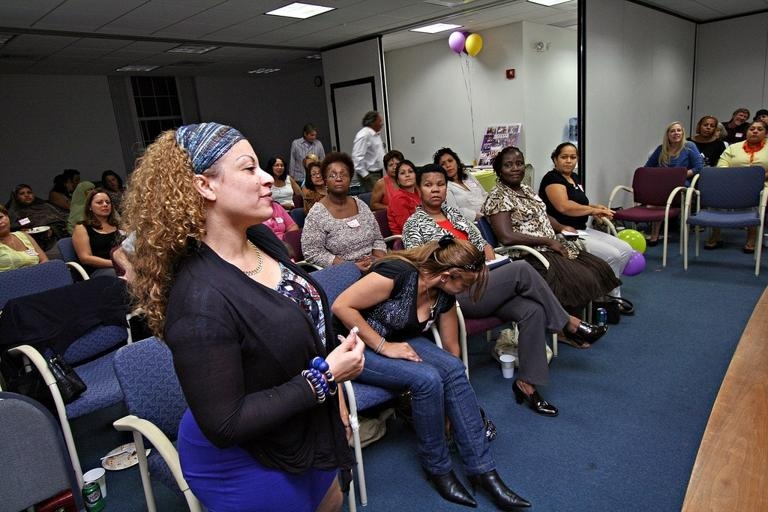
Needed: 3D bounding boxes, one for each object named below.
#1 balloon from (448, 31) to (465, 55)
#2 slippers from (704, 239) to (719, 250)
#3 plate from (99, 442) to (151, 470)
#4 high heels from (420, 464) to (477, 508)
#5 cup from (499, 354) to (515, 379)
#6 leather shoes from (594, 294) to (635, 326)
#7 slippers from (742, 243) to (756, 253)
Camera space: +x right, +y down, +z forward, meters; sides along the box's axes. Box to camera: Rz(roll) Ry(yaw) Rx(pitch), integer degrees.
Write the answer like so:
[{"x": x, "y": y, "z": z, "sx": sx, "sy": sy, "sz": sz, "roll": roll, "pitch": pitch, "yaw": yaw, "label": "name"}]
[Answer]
[{"x": 1.340, "y": -3.922, "z": 8.248, "sx": 0.281, "sy": 0.356, "sz": 0.347, "roll": 1, "pitch": 16, "yaw": 9, "label": "balloon"}, {"x": 4.112, "y": -0.144, "z": 5.707, "sx": 0.078, "sy": 0.188, "sz": 0.267, "roll": 8, "pitch": 14, "yaw": 42, "label": "slippers"}, {"x": -1.654, "y": 1.265, "z": 2.834, "sx": 0.188, "sy": 0.042, "sz": 0.257, "roll": -12, "pitch": 18, "yaw": -35, "label": "plate"}, {"x": 0.321, "y": 1.208, "z": 2.491, "sx": 0.375, "sy": 0.158, "sz": 0.117, "roll": 6, "pitch": 13, "yaw": 42, "label": "high heels"}, {"x": 0.902, "y": 0.811, "z": 3.387, "sx": 0.151, "sy": 0.149, "sz": 0.143, "roll": -1, "pitch": 10, "yaw": 0, "label": "cup"}, {"x": 2.036, "y": 0.465, "z": 4.004, "sx": 0.243, "sy": 0.140, "sz": 0.396, "roll": 2, "pitch": 0, "yaw": 10, "label": "leather shoes"}, {"x": 4.377, "y": -0.098, "z": 5.449, "sx": 0.079, "sy": 0.096, "sz": 0.155, "roll": 15, "pitch": 27, "yaw": 41, "label": "slippers"}]
